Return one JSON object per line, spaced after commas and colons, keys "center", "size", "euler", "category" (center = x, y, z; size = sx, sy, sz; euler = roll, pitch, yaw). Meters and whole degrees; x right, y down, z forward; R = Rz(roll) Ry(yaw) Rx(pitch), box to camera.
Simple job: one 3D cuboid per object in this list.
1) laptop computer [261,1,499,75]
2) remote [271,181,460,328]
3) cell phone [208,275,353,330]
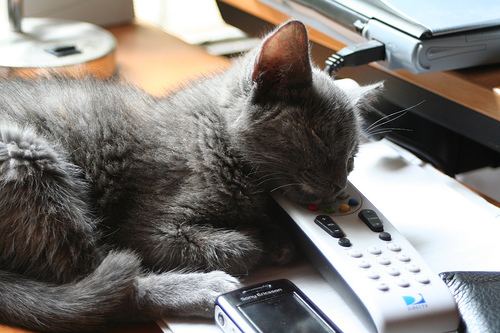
{"center": [0.327, -0.354, 1.056], "size": [0.556, 0.142, 0.251], "euler": [26, 44, 31], "category": "laptop computer"}
{"center": [0.189, 0.157, 0.761], "size": [0.117, 0.062, 0.361], "euler": [-12, 37, -25], "category": "remote"}
{"center": [0.035, 0.233, 0.672], "size": [0.181, 0.040, 0.108], "euler": [-7, 38, -10], "category": "cell phone"}
